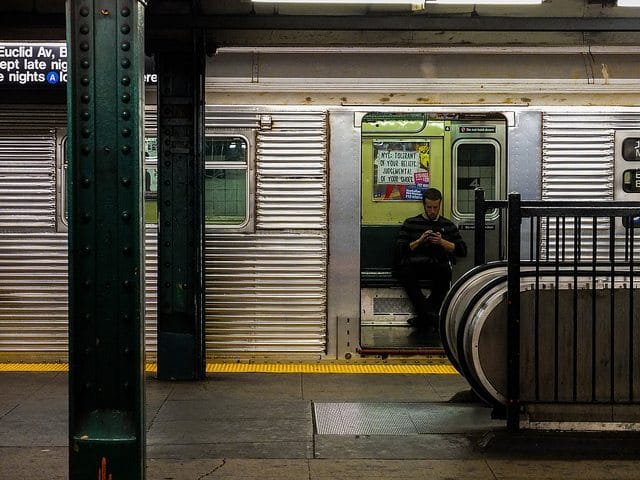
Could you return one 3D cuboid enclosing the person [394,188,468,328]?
[{"bbox_3d":[1.244,0.206,9.053,0.797,1.543,0.352,-1,8,-1],"label":"person"}]
